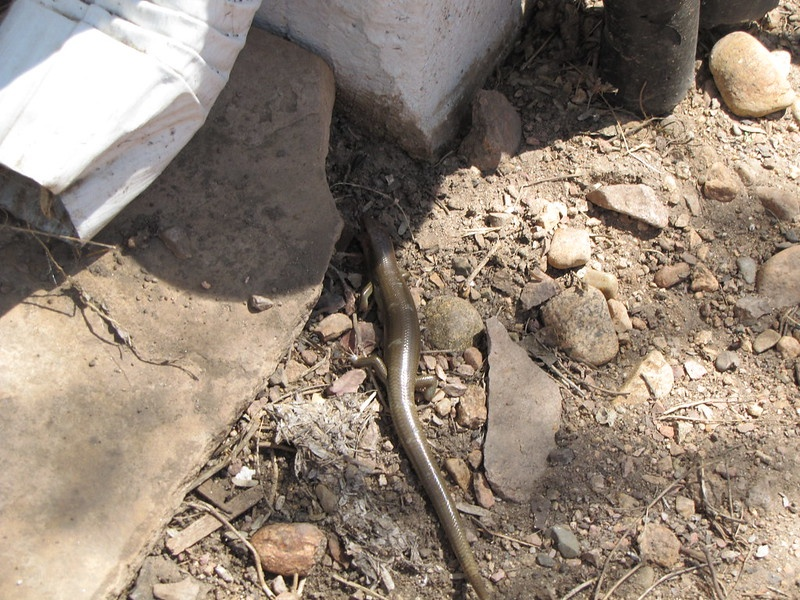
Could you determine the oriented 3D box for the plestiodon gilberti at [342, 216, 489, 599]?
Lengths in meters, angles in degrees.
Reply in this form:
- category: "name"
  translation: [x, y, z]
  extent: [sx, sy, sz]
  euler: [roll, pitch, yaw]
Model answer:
- category: "plestiodon gilberti"
  translation: [0.032, 0.467, 4.802]
  extent: [0.527, 0.337, 2.794]
  euler: [3, 64, -28]
